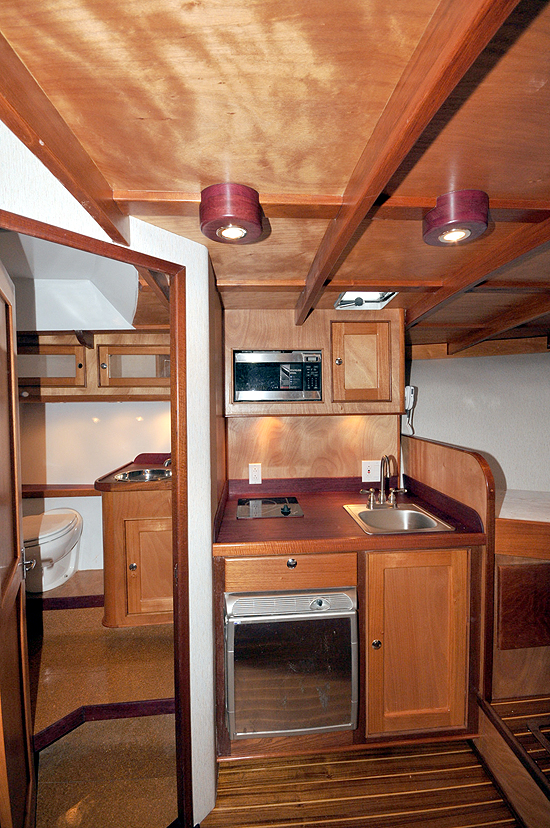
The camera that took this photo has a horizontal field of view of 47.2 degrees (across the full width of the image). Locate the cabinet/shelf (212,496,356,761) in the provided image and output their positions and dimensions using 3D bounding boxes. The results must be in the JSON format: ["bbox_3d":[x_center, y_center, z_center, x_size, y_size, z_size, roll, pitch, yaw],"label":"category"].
[{"bbox_3d":[0.028,0.840,2.449,0.631,0.752,0.607,1,12,9],"label":"cabinet/shelf"}]

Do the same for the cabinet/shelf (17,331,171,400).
[{"bbox_3d":[-1.016,-0.277,3.595,0.822,0.383,0.177,-2,8,-23],"label":"cabinet/shelf"}]

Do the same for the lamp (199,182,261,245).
[{"bbox_3d":[-0.099,-0.477,1.614,0.199,0.106,0.195,2,-24,0],"label":"lamp"}]

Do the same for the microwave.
[{"bbox_3d":[0.018,-0.207,2.888,0.393,0.248,0.227,1,23,7],"label":"microwave"}]

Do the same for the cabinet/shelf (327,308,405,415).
[{"bbox_3d":[0.397,-0.186,2.954,0.379,0.453,0.369,-8,-23,24],"label":"cabinet/shelf"}]

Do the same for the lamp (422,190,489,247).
[{"bbox_3d":[0.461,-0.507,1.631,0.157,0.104,0.163,-9,-11,33],"label":"lamp"}]

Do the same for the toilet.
[{"bbox_3d":[-1.094,0.711,3.126,0.271,0.372,0.487,-2,8,-20],"label":"toilet"}]
